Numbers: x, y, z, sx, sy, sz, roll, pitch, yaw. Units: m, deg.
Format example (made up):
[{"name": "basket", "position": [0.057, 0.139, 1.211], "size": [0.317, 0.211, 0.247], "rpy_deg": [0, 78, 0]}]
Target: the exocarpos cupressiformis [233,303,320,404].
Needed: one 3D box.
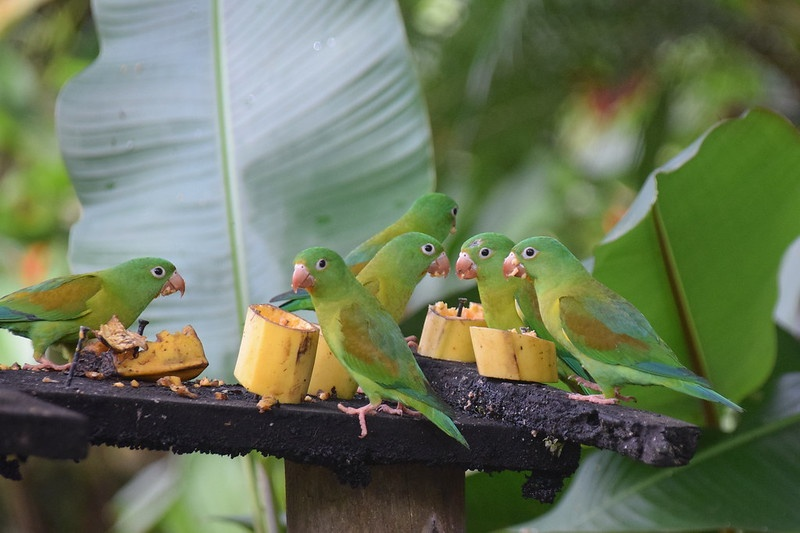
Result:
[{"name": "exocarpos cupressiformis", "position": [-0.598, 0.531, 4.748], "size": [0.352, 0.421, 0.333], "rpy_deg": [12, -2, -44]}]
